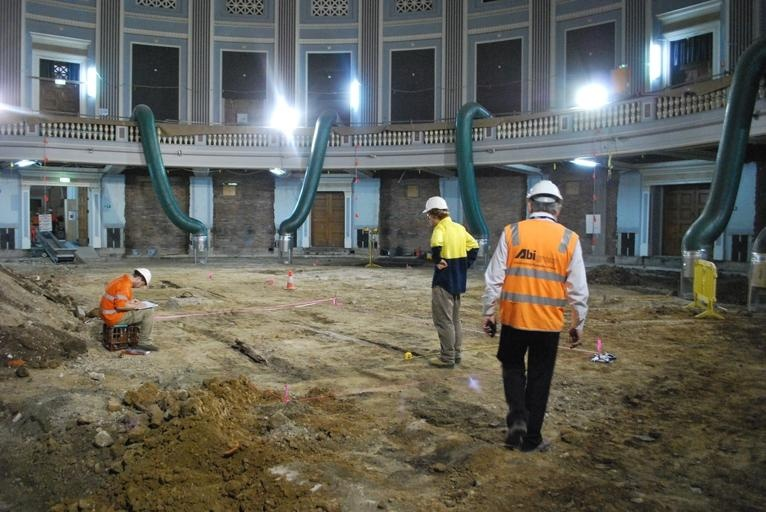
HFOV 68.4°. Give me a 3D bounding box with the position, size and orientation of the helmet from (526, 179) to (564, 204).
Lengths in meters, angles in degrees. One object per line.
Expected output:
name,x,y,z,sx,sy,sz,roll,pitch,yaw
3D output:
helmet,1.799,-0.722,6.264,0.348,0.202,0.444,3,-8,15

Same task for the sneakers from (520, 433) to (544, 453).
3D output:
sneakers,1.581,1.983,6.029,0.147,0.146,0.242,4,8,44

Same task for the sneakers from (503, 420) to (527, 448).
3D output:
sneakers,1.400,1.909,6.019,0.147,0.164,0.335,-7,8,11

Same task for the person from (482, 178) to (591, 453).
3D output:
person,1.613,0.620,6.053,0.964,2.786,0.800,-8,17,-21

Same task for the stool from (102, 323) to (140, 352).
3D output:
stool,-3.825,1.156,8.247,0.440,0.291,0.432,-2,5,-37

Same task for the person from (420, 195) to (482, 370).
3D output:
person,0.962,0.359,7.951,0.728,2.357,0.779,0,16,4

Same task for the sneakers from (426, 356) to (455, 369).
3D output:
sneakers,0.796,1.499,7.920,0.344,0.129,0.134,6,4,24

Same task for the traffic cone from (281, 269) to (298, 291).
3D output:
traffic cone,-2.304,0.623,14.116,0.505,0.590,0.485,0,1,-42

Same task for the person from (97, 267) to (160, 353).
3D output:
person,-4.021,0.883,8.944,1.164,1.457,0.866,-1,20,-35
